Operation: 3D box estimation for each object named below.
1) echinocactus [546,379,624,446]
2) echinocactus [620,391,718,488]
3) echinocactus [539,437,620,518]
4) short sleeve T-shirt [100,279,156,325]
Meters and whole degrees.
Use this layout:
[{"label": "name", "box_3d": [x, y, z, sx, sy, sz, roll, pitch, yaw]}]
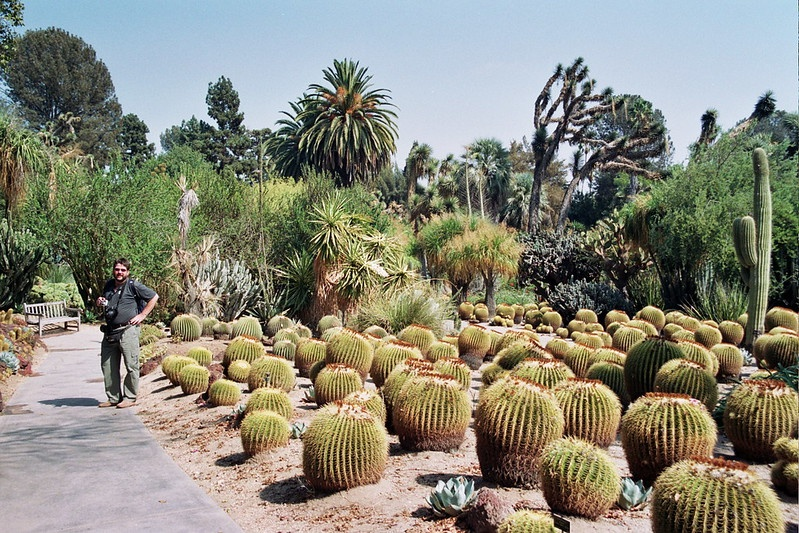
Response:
[{"label": "echinocactus", "box_3d": [2.094, 1.557, 6.374, 0.675, 0.728, 0.708, 0, 0, -2]}, {"label": "echinocactus", "box_3d": [2.731, 1.674, 6.006, 0.896, 0.980, 0.928, -3, 1, -20]}, {"label": "echinocactus", "box_3d": [1.765, 1.967, 5.505, 0.664, 0.714, 0.678, -7, 7, 31]}, {"label": "short sleeve T-shirt", "box_3d": [-4.327, 0.574, 8.864, 1.027, 0.793, 0.578, -4, -9, 15]}]
